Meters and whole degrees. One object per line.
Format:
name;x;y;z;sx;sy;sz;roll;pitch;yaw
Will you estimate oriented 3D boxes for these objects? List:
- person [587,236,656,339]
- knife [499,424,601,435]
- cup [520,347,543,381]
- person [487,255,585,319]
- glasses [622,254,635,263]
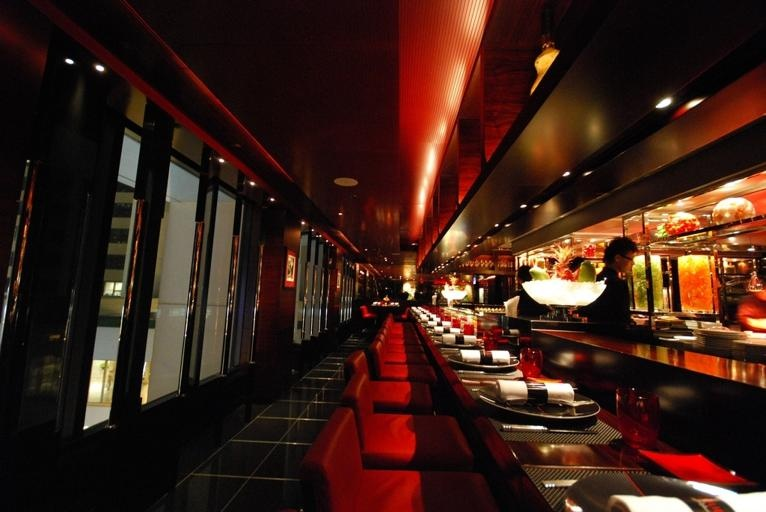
person;2.029;0.266;4.234;0.568;0.849;0.568;-6;9;-23
knife;0.807;0.866;2.493;0.444;0.050;0.080;-4;-7;6
cup;0.859;0.626;2.899;0.158;0.195;0.162;-1;-7;0
person;1.635;0.493;5.844;0.803;0.514;0.827;1;-14;0
glasses;2.052;0.020;4.156;0.061;0.045;0.086;2;1;8
